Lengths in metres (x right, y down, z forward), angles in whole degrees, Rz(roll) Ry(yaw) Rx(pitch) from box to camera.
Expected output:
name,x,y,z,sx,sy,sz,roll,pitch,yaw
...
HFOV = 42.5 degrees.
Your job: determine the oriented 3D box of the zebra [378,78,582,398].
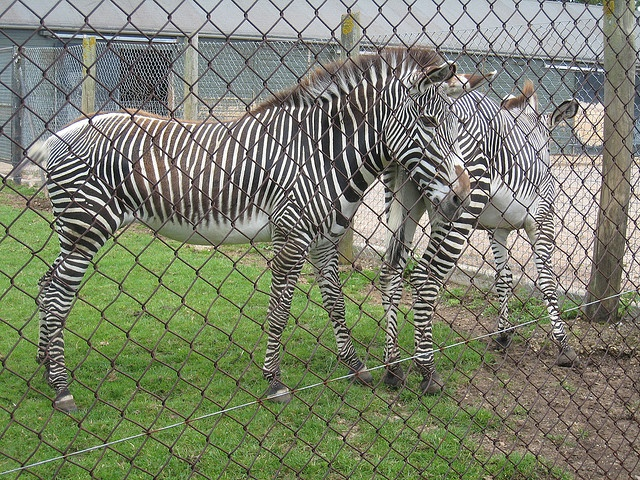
name,x,y,z,sx,sy,sz,roll,pitch,yaw
zebra,1.903,-0.260,8.819,0.959,3.358,3.660,-1,0,42
